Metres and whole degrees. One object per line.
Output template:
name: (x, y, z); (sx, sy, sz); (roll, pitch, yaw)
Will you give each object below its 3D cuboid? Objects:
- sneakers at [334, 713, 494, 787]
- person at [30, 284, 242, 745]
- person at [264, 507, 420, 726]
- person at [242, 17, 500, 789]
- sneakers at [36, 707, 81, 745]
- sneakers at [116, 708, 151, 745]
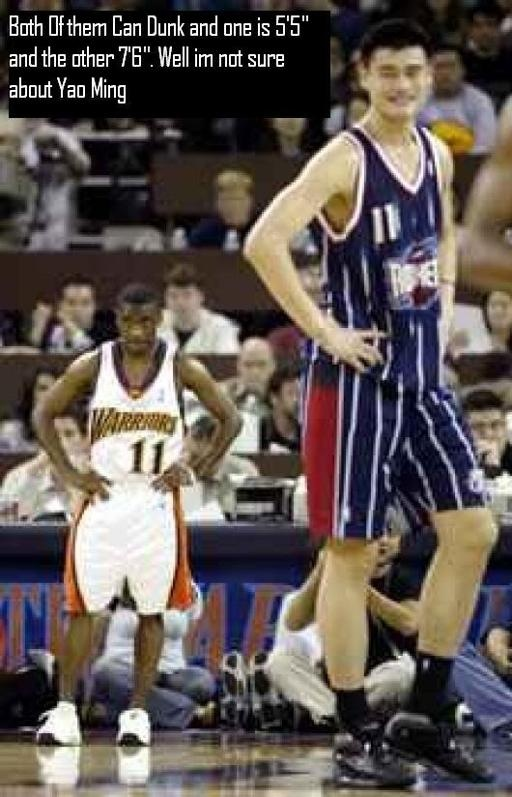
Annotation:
sneakers: (0.363, 0.721, 1.842); (0.406, 0.143, 0.125); (2, -5, -12)
person: (-0.441, 0.299, 2.660); (0.564, 1.250, 0.636); (7, 14, 20)
person: (0.279, 0.670, 2.765); (0.500, 0.651, 0.384); (20, -27, -16)
person: (0.228, 0.086, 1.782); (0.518, 1.338, 0.449); (1, 14, -2)
sneakers: (-0.566, 0.932, 2.513); (0.121, 0.104, 0.120); (1, 13, -4)
sneakers: (-0.348, 0.948, 2.501); (0.073, 0.112, 0.051); (3, -26, -6)
